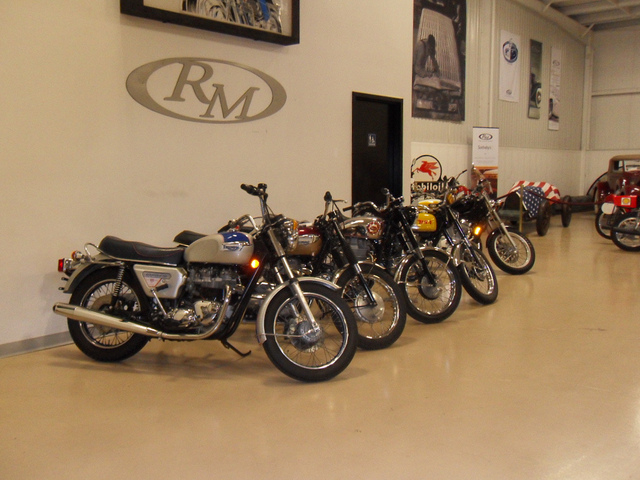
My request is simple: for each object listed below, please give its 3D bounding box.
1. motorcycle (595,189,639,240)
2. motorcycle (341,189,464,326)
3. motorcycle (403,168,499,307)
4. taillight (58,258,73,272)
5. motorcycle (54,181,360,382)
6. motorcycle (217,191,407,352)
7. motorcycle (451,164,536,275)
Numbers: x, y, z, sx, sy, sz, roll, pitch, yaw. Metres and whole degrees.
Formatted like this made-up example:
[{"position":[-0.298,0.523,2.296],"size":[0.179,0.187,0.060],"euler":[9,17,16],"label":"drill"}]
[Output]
[{"position":[5.276,-0.436,8.726],"size":[1.056,0.767,0.622],"euler":[-1,7,1],"label":"motorcycle"},{"position":[0.805,0.151,4.837],"size":[1.537,1.126,0.765],"euler":[1,5,10],"label":"motorcycle"},{"position":[1.180,0.008,5.603],"size":[1.522,1.100,0.890],"euler":[5,9,30],"label":"motorcycle"},{"position":[-1.951,0.194,3.889],"size":[0.085,0.100,0.027],"euler":[-7,5,-15],"label":"taillight"},{"position":[-0.863,0.279,3.825],"size":[2.132,1.473,1.096],"euler":[3,1,-3],"label":"motorcycle"},{"position":[0.055,0.305,4.240],"size":[1.585,1.209,1.021],"euler":[0,2,7],"label":"motorcycle"},{"position":[1.856,-0.223,6.800],"size":[1.896,1.360,0.874],"euler":[-2,-3,25],"label":"motorcycle"}]
